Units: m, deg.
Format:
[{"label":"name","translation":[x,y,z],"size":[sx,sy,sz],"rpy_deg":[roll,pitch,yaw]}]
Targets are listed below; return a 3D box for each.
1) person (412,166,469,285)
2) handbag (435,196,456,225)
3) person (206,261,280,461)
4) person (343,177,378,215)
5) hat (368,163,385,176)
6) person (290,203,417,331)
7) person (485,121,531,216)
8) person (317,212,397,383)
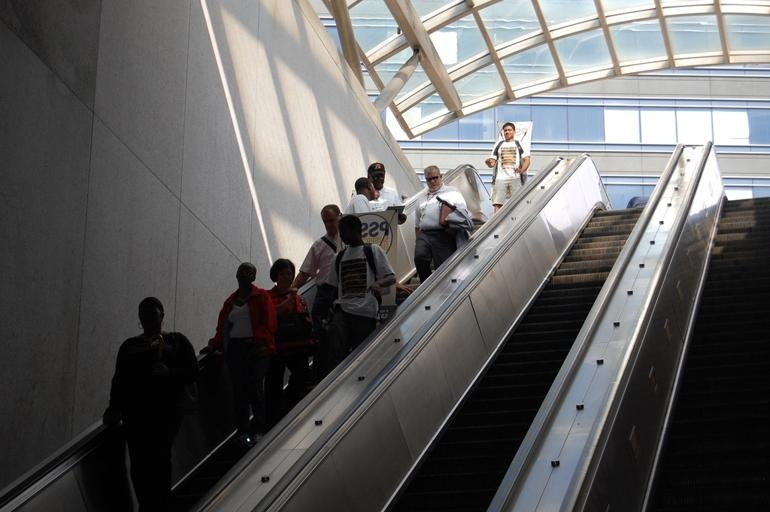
[{"label":"person","translation":[0.890,-0.538,7.926],"size":[0.832,1.867,0.810],"rpy_deg":[0,-2,-7]},{"label":"handbag","translation":[0.953,-0.700,7.777],"size":[0.275,0.443,0.082],"rpy_deg":[0,-2,6]},{"label":"person","translation":[-1.511,1.022,5.584],"size":[0.463,1.892,0.723],"rpy_deg":[2,-3,-45]},{"label":"person","translation":[-0.321,-0.909,7.789],"size":[0.469,0.727,0.711],"rpy_deg":[-3,1,-21]},{"label":"hat","translation":[-0.146,-1.469,8.420],"size":[0.247,0.225,0.373],"rpy_deg":[1,-13,-6]},{"label":"person","translation":[-0.469,0.151,6.814],"size":[1.298,2.435,0.751],"rpy_deg":[-7,-20,18]},{"label":"person","translation":[2.954,-2.166,12.149],"size":[0.973,2.044,0.824],"rpy_deg":[0,-2,4]},{"label":"person","translation":[-0.290,0.410,5.866],"size":[0.773,1.779,0.554],"rpy_deg":[0,-2,-2]}]
